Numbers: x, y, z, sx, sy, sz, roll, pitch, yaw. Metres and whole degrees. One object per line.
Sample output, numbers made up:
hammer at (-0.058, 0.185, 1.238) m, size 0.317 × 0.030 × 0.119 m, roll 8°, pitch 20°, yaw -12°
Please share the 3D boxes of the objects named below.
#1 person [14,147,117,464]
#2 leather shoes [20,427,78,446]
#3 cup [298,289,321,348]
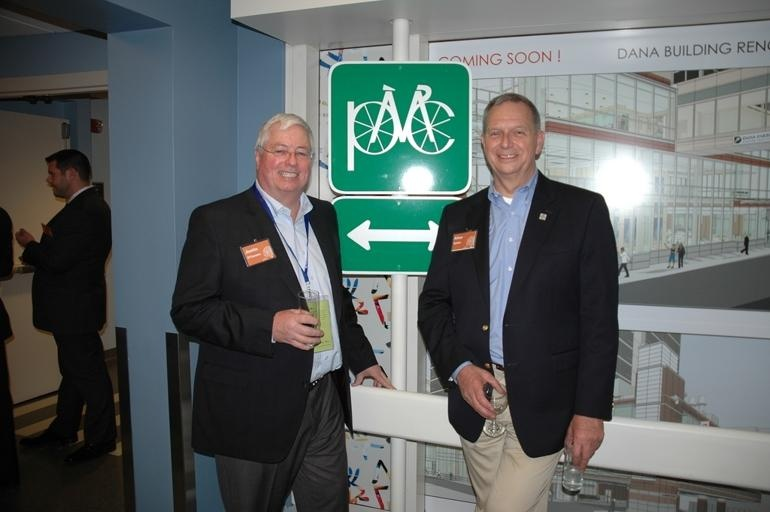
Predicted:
person at (-2.610, 0.359, 4.625) m, size 0.813 × 2.505 × 0.635 m, roll 5°, pitch 7°, yaw 33°
leather shoes at (-2.820, 1.542, 4.728) m, size 0.469 × 0.209 × 0.173 m, roll 5°, pitch -8°, yaw -13°
cup at (-0.363, 0.325, 2.733) m, size 0.118 × 0.300 × 0.117 m, roll 1°, pitch 6°, yaw 0°
